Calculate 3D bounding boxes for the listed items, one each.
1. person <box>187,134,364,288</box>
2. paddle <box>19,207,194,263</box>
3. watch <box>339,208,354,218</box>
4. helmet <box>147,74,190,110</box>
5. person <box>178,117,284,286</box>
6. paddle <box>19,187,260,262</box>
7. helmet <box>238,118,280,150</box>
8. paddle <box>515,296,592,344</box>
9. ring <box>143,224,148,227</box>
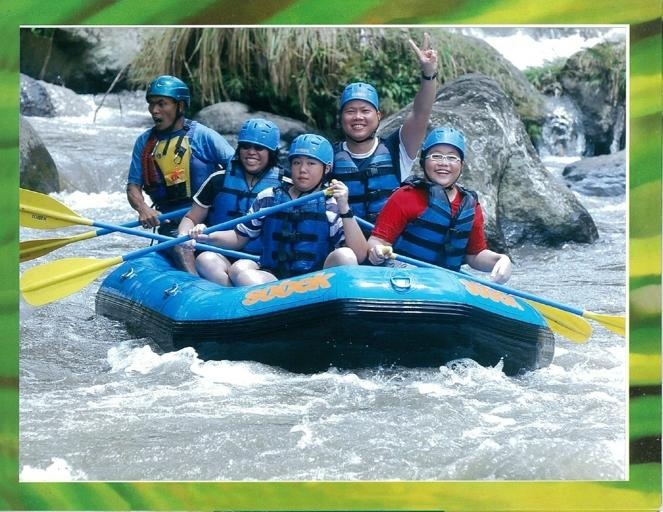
[{"bbox_3d":[-0.318,-0.277,5.684,1.223,1.032,0.690,1,14,-6],"label":"person"},{"bbox_3d":[-1.598,-0.168,6.180,0.172,0.234,1.749,48,24,24],"label":"paddle"},{"bbox_3d":[0.090,-0.270,5.457,0.069,0.028,0.068,-23,-1,-4],"label":"watch"},{"bbox_3d":[-1.198,-1.198,6.278,0.251,0.237,0.327,14,16,33],"label":"helmet"},{"bbox_3d":[-0.552,-0.403,5.981,0.971,1.106,0.833,2,-1,3],"label":"person"},{"bbox_3d":[-1.696,-0.167,6.044,1.331,0.417,0.176,1,45,-51],"label":"paddle"},{"bbox_3d":[-0.497,-0.841,5.961,0.219,0.239,0.191,5,5,5],"label":"helmet"},{"bbox_3d":[1.499,0.386,5.816,0.093,0.184,0.809,20,12,-19],"label":"paddle"},{"bbox_3d":[-1.347,-0.224,6.190,0.021,0.019,0.005,5,45,1],"label":"ring"}]
